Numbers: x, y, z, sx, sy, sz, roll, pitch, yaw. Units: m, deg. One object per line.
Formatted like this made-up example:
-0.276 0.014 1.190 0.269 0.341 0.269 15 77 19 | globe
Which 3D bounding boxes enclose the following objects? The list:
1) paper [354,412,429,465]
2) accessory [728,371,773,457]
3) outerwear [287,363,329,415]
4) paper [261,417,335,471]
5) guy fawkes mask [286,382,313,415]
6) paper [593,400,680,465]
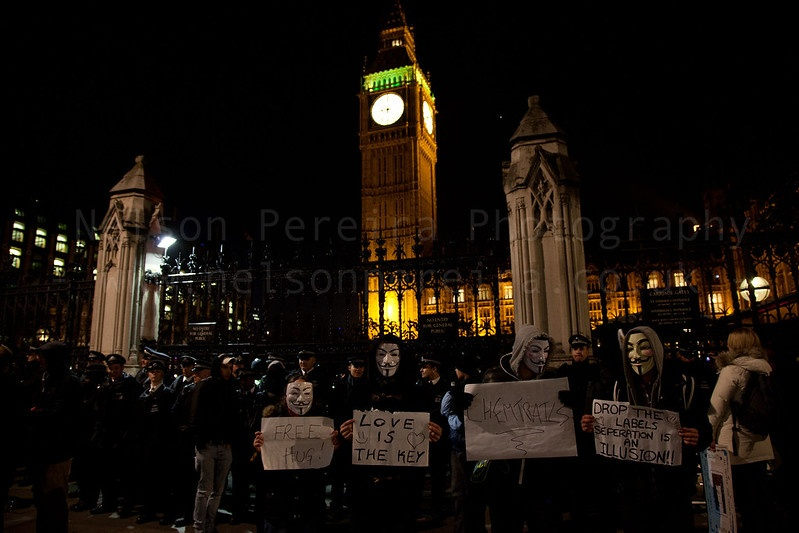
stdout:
-0.090 2.904 11.813 0.887 0.629 0.060 1 -14 3 | paper
6.256 2.610 12.564 0.727 1.456 0.323 -2 -12 2 | accessory
-1.649 2.508 13.462 0.762 0.983 1.055 4 -42 -6 | outerwear
-1.743 3.099 12.355 0.967 0.652 0.057 -1 -13 2 | paper
-1.764 2.360 12.555 0.537 0.635 0.285 1 -14 -11 | guy fawkes mask
3.912 2.715 11.580 1.040 0.706 0.079 4 -8 5 | paper
